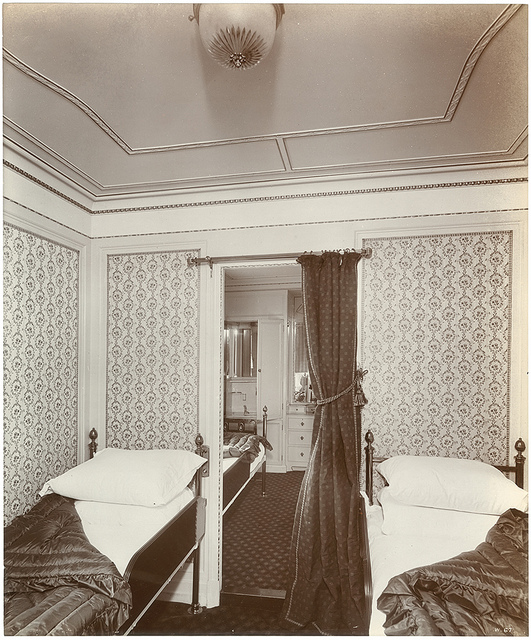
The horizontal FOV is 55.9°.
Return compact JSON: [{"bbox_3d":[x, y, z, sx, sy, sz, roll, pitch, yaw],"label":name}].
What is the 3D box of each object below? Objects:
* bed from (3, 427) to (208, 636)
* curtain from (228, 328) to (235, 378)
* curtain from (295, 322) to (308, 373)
[{"bbox_3d":[-0.845,1.139,2.583,0.732,0.955,1.185,3,-2,7],"label":"bed"},{"bbox_3d":[-0.459,0.442,6.719,0.113,0.661,0.068,-3,0,-7],"label":"curtain"},{"bbox_3d":[0.485,0.398,6.764,0.201,0.774,0.063,-1,-35,7],"label":"curtain"}]
